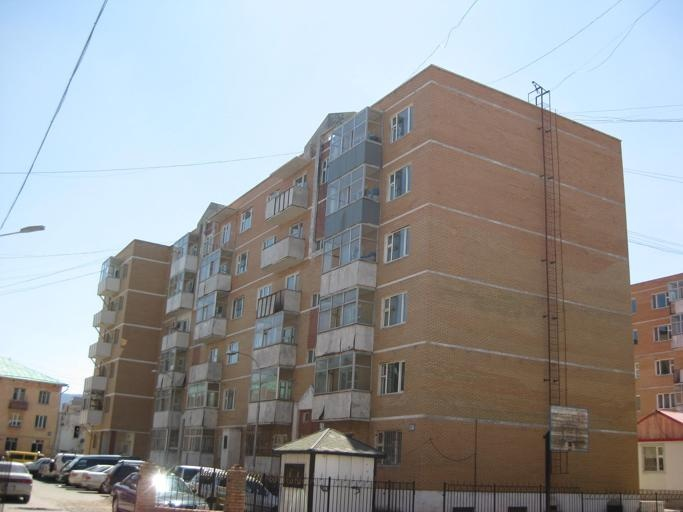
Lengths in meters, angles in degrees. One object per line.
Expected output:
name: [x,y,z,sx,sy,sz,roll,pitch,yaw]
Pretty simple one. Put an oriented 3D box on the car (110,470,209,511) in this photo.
car: [-7.880,9.697,25.462,2.612,1.705,5.787,14,-26,-35]
